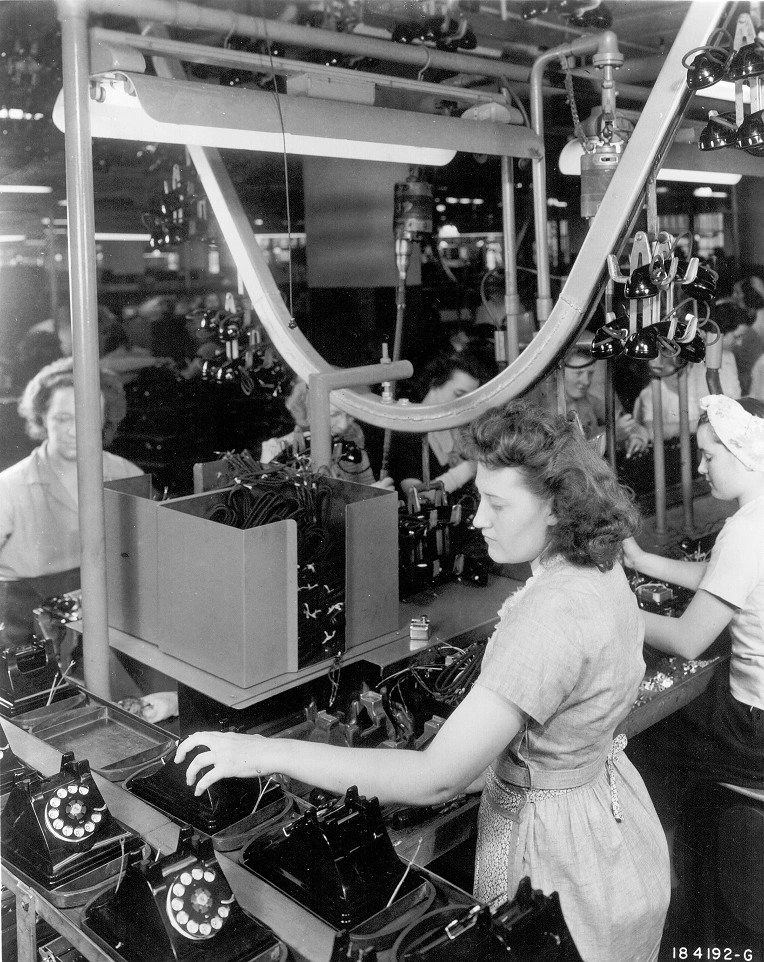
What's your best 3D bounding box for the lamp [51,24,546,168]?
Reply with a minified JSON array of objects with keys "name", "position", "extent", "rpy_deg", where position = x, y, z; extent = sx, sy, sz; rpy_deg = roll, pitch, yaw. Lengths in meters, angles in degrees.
[{"name":"lamp","position":[-0.102,-0.666,1.558],"extent":[0.740,0.078,0.131],"rpy_deg":[10,-2,12]}]
